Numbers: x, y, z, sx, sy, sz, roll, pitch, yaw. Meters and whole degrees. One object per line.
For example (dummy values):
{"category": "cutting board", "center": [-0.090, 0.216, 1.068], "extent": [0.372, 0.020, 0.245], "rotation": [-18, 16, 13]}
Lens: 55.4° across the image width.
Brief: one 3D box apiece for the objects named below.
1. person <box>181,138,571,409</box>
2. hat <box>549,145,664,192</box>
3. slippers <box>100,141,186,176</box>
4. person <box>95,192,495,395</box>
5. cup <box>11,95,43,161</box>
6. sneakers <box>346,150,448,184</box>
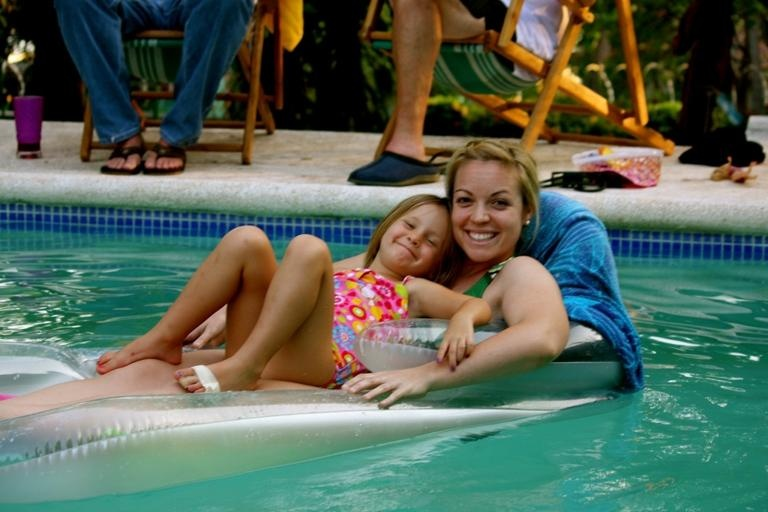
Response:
{"category": "person", "center": [0.099, -0.006, 2.360], "extent": [1.204, 0.661, 0.844], "rotation": [-3, 7, -31]}
{"category": "hat", "center": [1.228, -0.472, 3.985], "extent": [0.466, 0.153, 0.349], "rotation": [-3, 5, -18]}
{"category": "slippers", "center": [-1.395, -0.571, 4.279], "extent": [0.470, 0.190, 0.356], "rotation": [-1, 7, -19]}
{"category": "person", "center": [-0.296, 0.111, 2.440], "extent": [1.194, 0.569, 1.295], "rotation": [4, 6, -30]}
{"category": "cup", "center": [-2.285, -0.833, 4.740], "extent": [0.161, 0.395, 0.201], "rotation": [-3, 10, -25]}
{"category": "sneakers", "center": [0.063, -0.466, 3.950], "extent": [0.492, 0.122, 0.193], "rotation": [-2, 2, -32]}
